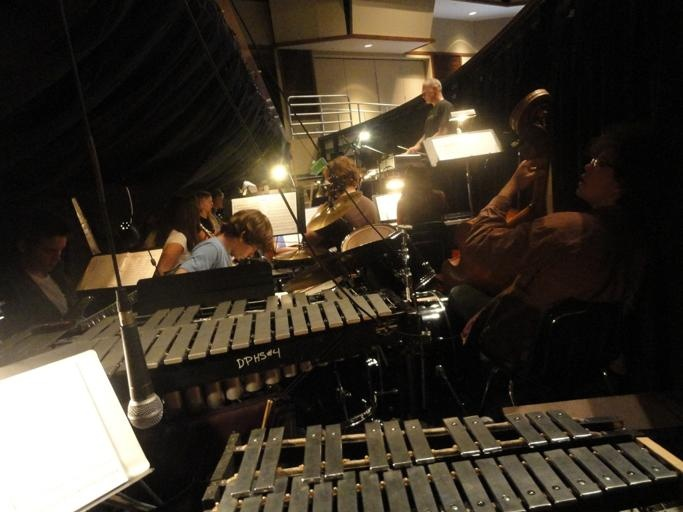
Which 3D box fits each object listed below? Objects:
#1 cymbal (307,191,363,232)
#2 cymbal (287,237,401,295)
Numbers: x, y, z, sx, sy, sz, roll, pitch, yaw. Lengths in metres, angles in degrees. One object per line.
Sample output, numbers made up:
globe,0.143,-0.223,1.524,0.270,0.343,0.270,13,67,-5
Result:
cymbal,-0.044,-0.272,4.361,0.353,0.367,0.091,-24,-58,33
cymbal,0.046,0.094,3.537,0.546,0.226,0.397,-25,1,0
